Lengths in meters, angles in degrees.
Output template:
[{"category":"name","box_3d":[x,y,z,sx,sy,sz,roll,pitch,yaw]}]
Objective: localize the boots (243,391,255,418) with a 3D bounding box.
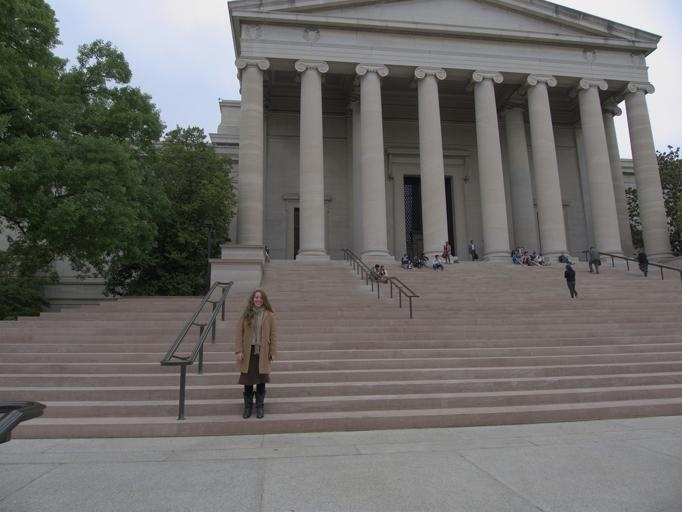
[{"category":"boots","box_3d":[-1.643,2.611,9.291,0.206,0.462,0.412,-1,1,-10]}]

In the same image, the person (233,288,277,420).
[{"category":"person","box_3d":[-1.536,1.739,9.418,0.675,2.202,0.681,-1,1,-8]}]

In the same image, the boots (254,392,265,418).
[{"category":"boots","box_3d":[-1.433,2.626,9.237,0.134,0.440,0.285,-1,1,-10]}]

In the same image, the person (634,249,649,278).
[{"category":"person","box_3d":[12.971,0.317,22.406,0.354,1.072,1.817,0,1,28]}]

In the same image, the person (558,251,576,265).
[{"category":"person","box_3d":[11.013,0.130,25.425,0.724,0.345,1.047,1,0,14]}]
